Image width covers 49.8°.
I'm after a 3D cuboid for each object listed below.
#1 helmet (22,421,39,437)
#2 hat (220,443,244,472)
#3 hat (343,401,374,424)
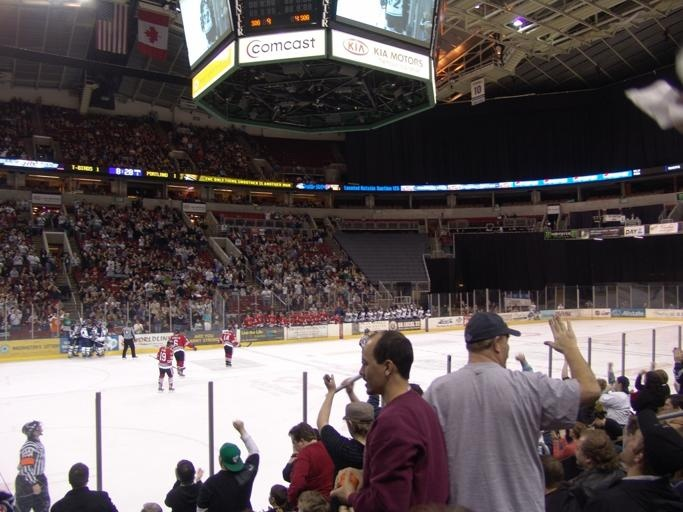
[{"bbox_3d":[-7.437,4.141,17.564,0.441,0.385,0.179,-2,-6,-3],"label":"helmet"},{"bbox_3d":[-2.498,4.556,16.657,0.524,0.660,0.256,-1,-6,-11],"label":"hat"},{"bbox_3d":[0.371,3.370,15.847,0.580,0.473,0.340,-2,-6,2],"label":"hat"}]
